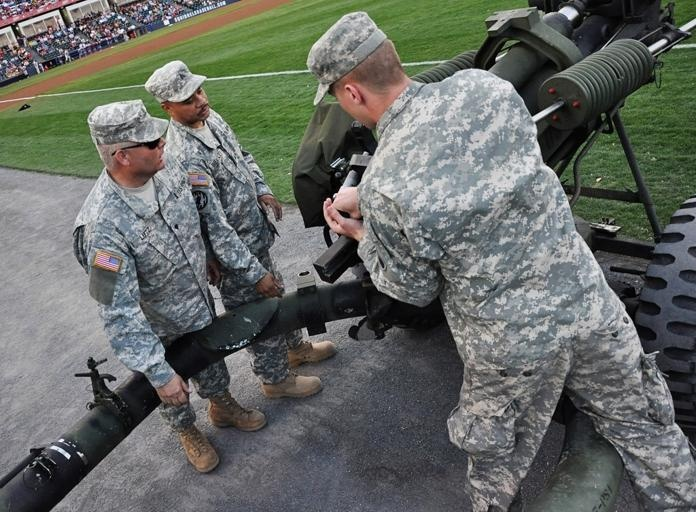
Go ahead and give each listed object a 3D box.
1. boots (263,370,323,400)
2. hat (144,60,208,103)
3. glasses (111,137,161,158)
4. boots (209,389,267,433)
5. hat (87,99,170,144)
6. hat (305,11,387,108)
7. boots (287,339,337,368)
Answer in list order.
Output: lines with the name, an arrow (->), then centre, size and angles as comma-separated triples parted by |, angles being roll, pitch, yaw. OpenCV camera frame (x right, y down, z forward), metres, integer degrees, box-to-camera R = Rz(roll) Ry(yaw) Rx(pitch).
boots -> -0.360, 0.868, 3.482 | 0.415, 0.168, 0.156 | -6, 33, 1
hat -> -1.021, -0.960, 3.023 | 0.373, 0.128, 0.255 | -24, 9, -19
glasses -> -0.988, -0.528, 2.511 | 0.135, 0.036, 0.121 | -21, 20, -8
boots -> -0.625, 0.998, 3.340 | 0.518, 0.319, 0.167 | 0, 48, 0
hat -> -1.060, -0.658, 2.556 | 0.392, 0.135, 0.243 | -8, 44, -1
hat -> -0.039, -0.785, 2.050 | 0.416, 0.176, 0.269 | -26, 26, 36
boots -> -0.280, 0.689, 3.785 | 0.396, 0.159, 0.133 | -16, 37, 1
